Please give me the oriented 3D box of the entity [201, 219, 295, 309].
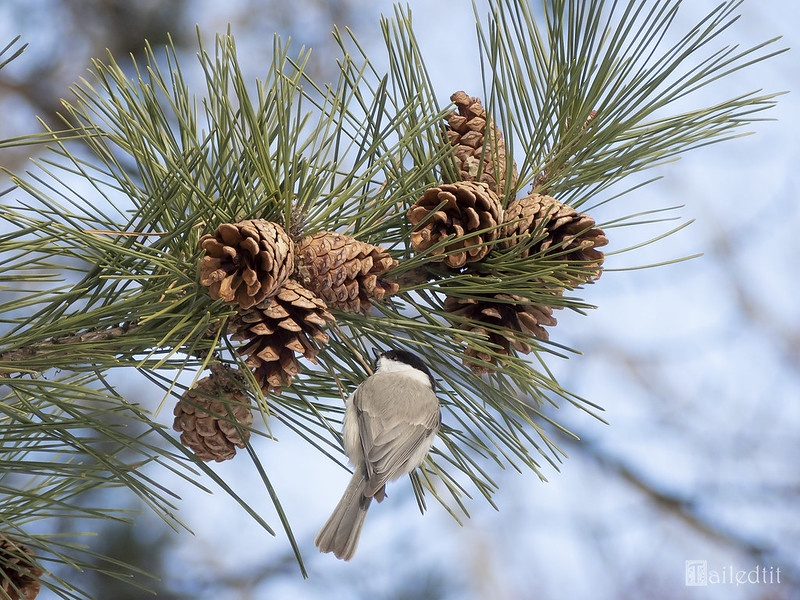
[{"bbox_3d":[-0.284,-0.064,2.047,0.182,0.125,0.136,-1,82,-43],"label":"entity"}]
